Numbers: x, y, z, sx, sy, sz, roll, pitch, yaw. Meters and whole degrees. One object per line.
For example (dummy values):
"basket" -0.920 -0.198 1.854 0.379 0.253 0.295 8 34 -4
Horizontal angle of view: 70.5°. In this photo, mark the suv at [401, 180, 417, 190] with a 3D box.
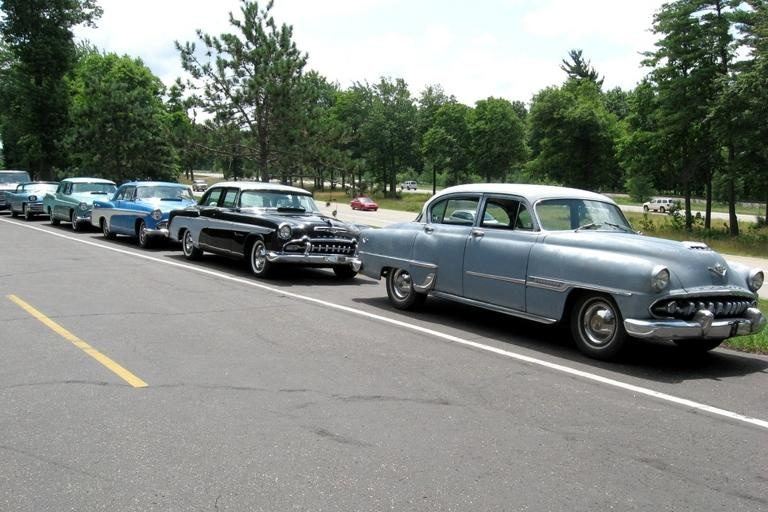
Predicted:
"suv" 5.481 -15.284 119.271 2.314 2.181 5.042 -1 13 -18

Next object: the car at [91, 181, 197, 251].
"car" -8.713 -1.493 19.510 2.264 1.627 4.787 -1 4 -38

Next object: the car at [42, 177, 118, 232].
"car" -13.621 -2.277 24.218 2.140 1.784 4.884 -1 5 -35

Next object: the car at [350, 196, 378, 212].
"car" -2.394 -5.795 60.049 1.437 1.186 3.480 -2 3 -26

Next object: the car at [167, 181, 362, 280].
"car" -3.399 -0.819 14.721 2.297 1.760 5.157 2 5 -41
